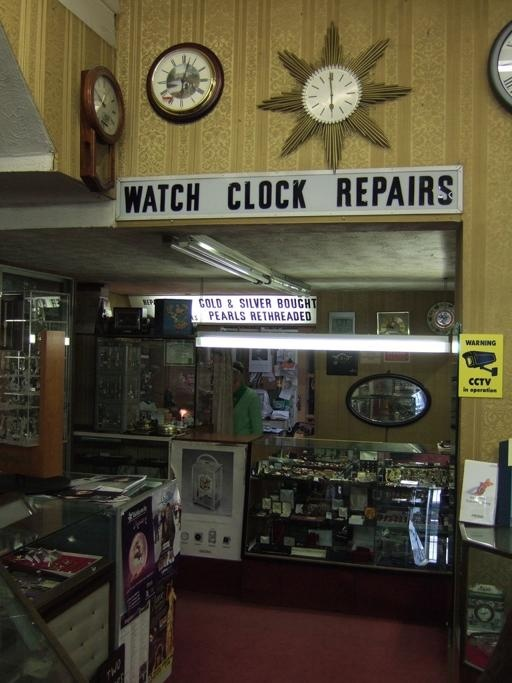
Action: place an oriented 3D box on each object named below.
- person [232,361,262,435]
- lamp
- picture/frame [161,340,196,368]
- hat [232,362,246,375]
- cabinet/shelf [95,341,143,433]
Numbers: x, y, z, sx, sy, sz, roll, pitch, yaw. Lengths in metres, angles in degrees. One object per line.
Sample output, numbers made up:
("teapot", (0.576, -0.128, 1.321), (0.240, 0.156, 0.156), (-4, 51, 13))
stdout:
("person", (-0.115, 0.700, 7.417), (0.340, 0.721, 0.711), (2, 6, -3))
("lamp", (-0.128, -0.609, 5.181), (0.353, 0.209, 2.032), (-3, -4, 19))
("picture/frame", (-1.001, 0.158, 8.101), (0.330, 0.319, 0.078), (1, 0, 21))
("hat", (-0.232, 0.314, 7.641), (0.103, 0.149, 0.164), (1, -6, 16))
("cabinet/shelf", (-1.759, 0.550, 8.091), (0.569, 1.098, 0.511), (1, 6, -11))
